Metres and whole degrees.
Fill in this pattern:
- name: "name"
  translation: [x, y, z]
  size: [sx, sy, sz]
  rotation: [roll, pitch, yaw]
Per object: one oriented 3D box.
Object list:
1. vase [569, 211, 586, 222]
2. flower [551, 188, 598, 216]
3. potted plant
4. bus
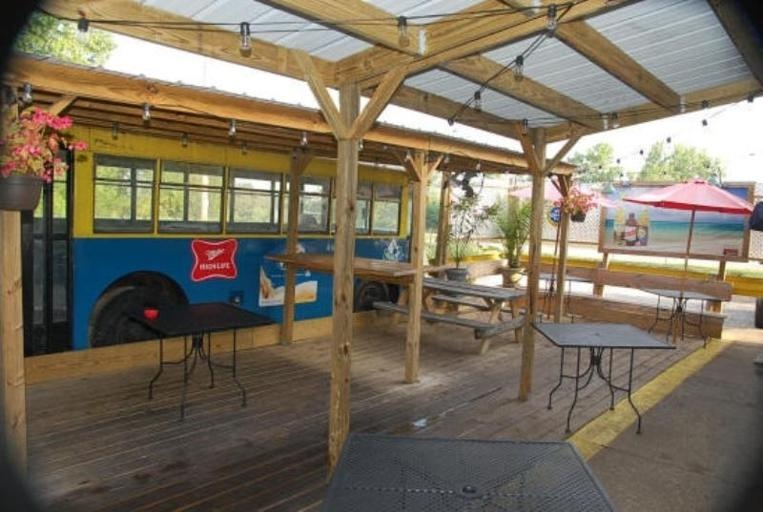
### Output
- name: "vase"
  translation: [3.784, -0.756, 10.492]
  size: [0.348, 0.204, 0.333]
  rotation: [1, 2, 38]
- name: "flower"
  translation: [3.833, -1.024, 10.367]
  size: [0.944, 0.554, 0.851]
  rotation: [-3, 11, -12]
- name: "potted plant"
  translation: [2.534, -0.382, 12.824]
  size: [2.526, 1.976, 1.989]
  rotation: [0, 1, -15]
- name: "bus"
  translation: [-2.444, -0.220, 7.508]
  size: [4.480, 1.577, 1.541]
  rotation: [-1, 7, -38]
